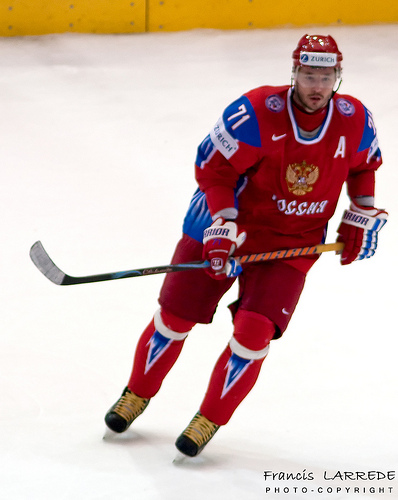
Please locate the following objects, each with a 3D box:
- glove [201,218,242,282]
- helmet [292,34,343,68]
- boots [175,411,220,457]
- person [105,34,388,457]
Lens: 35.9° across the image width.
[{"bbox_3d":[0.079,-0.005,2.090,0.168,0.181,0.100,0,-13,38],"label":"glove"},{"bbox_3d":[0.372,-0.641,1.982,0.137,0.114,0.138,3,34,3],"label":"helmet"},{"bbox_3d":[-0.013,0.668,2.261,0.115,0.189,0.062,41,-12,0],"label":"boots"},{"bbox_3d":[0.207,0.011,2.218,0.974,1.488,0.428,3,6,-7],"label":"person"}]
